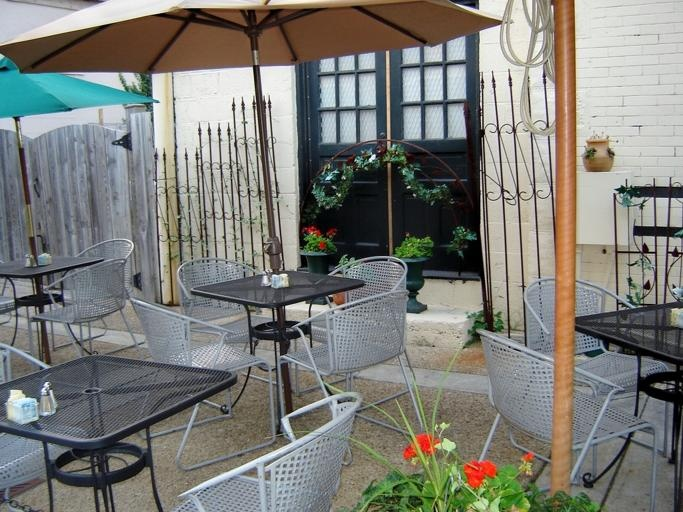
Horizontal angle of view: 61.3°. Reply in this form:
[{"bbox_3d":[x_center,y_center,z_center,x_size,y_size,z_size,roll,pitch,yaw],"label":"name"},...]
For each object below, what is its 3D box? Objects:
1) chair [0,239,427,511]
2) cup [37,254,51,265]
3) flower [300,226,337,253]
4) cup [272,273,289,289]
[{"bbox_3d":[-0.755,0.723,3.640,1.342,0.641,1.775,3,8,34],"label":"chair"},{"bbox_3d":[-2.642,0.035,5.193,0.114,0.085,0.110,0,-2,0],"label":"cup"},{"bbox_3d":[-0.235,-0.183,6.341,0.380,0.207,0.348,1,5,-12],"label":"flower"},{"bbox_3d":[-0.398,0.173,3.944,0.115,0.061,0.102,-4,1,13],"label":"cup"}]
